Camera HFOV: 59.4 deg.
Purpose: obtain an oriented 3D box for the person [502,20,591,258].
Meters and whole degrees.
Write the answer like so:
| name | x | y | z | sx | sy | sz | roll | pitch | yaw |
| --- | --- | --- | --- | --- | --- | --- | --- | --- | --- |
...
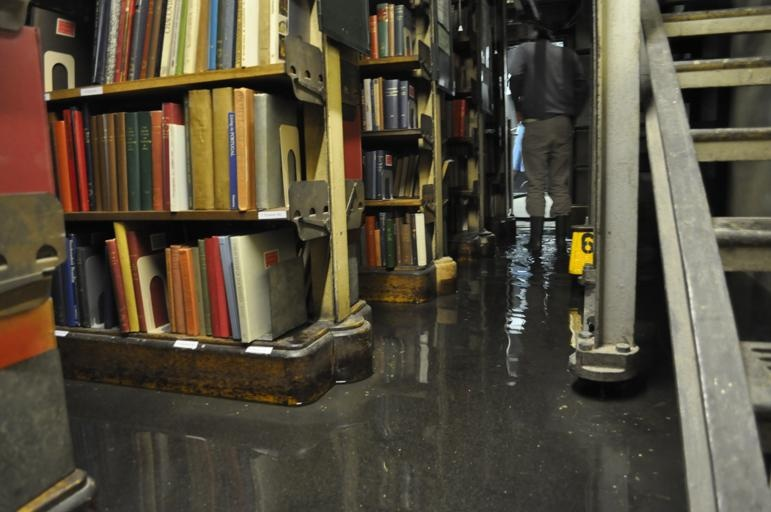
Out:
| name | x | y | z | sx | sy | sz | roll | pitch | yaw |
| --- | --- | --- | --- | --- | --- | --- | --- | --- | --- |
| person | 1.326 | -0.939 | 5.733 | 0.525 | 1.902 | 0.439 | 5 | 14 | 27 |
